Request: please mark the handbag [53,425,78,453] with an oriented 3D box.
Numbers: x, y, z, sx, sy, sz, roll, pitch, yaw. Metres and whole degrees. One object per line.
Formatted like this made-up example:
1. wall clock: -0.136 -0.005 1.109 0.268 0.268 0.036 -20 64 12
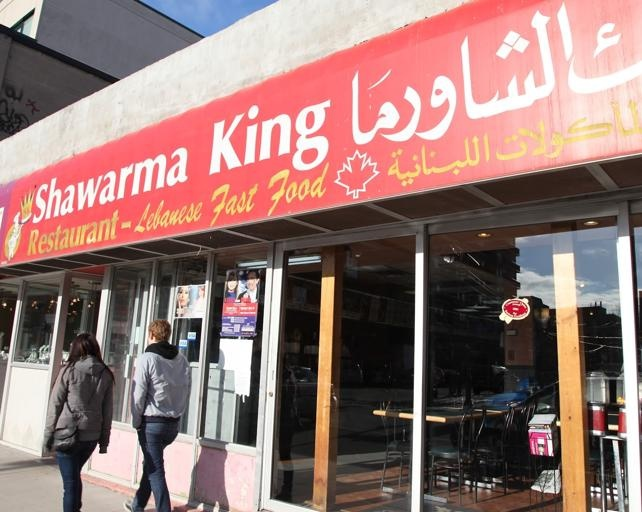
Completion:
1. handbag: -2.228 1.589 4.567 0.210 0.219 0.120 -3 -17 6
